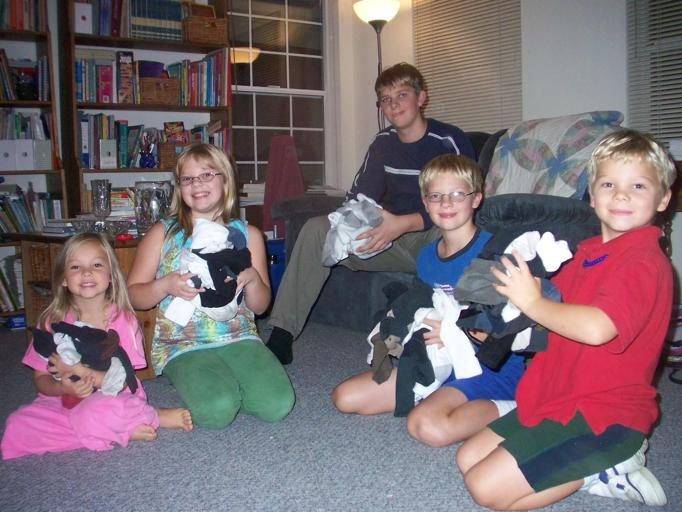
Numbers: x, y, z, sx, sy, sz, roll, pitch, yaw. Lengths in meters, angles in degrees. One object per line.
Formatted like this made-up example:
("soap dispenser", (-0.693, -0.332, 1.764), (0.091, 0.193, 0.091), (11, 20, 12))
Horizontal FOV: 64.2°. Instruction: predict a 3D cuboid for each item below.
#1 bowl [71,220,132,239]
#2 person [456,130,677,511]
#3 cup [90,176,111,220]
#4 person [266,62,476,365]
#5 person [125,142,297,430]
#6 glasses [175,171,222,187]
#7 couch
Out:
("bowl", (-1.163, -0.140, 2.656), (0.179, 0.064, 0.176), (1, 3, 0))
("person", (0.693, 0.187, 1.663), (0.622, 1.106, 0.443), (2, 15, 13))
("cup", (-1.226, -0.291, 2.771), (0.088, 0.193, 0.115), (-5, 15, -16))
("person", (0.089, -0.254, 2.783), (1.195, 1.320, 0.740), (-7, 18, -5))
("person", (-0.473, 0.089, 2.204), (0.664, 1.057, 0.554), (9, 11, 35))
("glasses", (-0.564, -0.309, 2.161), (0.167, 0.058, 0.060), (-3, 14, -10))
("couch", (0.412, -0.050, 2.328), (0.699, 0.735, 1.089), (9, 6, -43))
